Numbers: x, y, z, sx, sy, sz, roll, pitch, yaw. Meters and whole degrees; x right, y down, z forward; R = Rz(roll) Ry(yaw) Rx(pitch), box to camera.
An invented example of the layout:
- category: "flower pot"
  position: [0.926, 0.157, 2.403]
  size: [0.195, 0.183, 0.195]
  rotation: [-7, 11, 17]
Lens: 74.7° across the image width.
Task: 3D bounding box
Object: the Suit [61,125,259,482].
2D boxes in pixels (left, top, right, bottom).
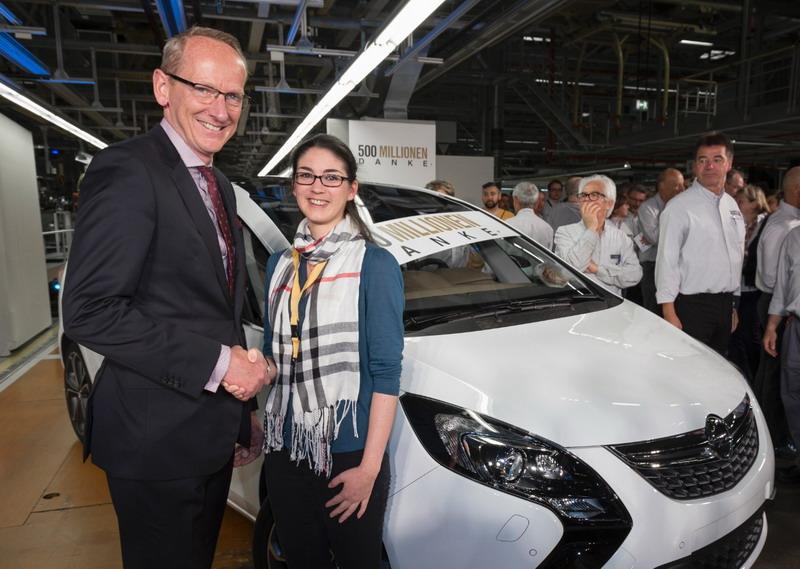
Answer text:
- category: "Suit"
  position: [-0.849, 0.065, 1.877]
  size: [0.566, 1.194, 0.378]
  rotation: [-4, 11, -15]

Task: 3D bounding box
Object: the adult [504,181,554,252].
- category: "adult"
  position: [1.353, -0.699, 5.702]
  size: [0.567, 0.791, 0.340]
  rotation: [-1, -10, -13]

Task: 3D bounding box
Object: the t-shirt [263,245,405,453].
- category: "t-shirt"
  position: [-0.250, 0.190, 2.026]
  size: [0.496, 0.766, 0.248]
  rotation: [6, 16, 19]

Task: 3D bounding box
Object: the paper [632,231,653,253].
- category: "paper"
  position: [2.872, -0.486, 6.159]
  size: [0.053, 0.201, 0.214]
  rotation: [10, 32, -18]

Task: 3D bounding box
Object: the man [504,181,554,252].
- category: "man"
  position: [1.357, -0.695, 5.710]
  size: [0.576, 0.818, 0.372]
  rotation: [1, -12, -7]

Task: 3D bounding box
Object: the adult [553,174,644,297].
- category: "adult"
  position: [1.607, -0.079, 4.324]
  size: [0.651, 1.540, 0.410]
  rotation: [-1, 8, -3]
